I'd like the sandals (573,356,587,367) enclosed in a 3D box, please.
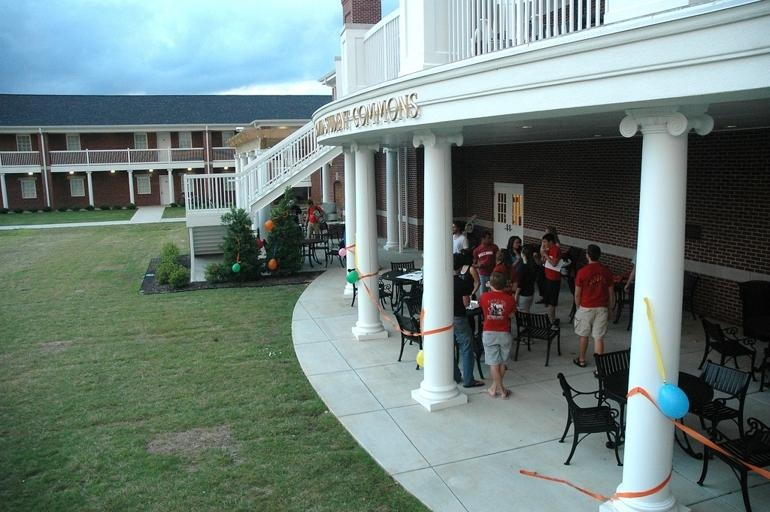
[{"bbox_3d":[4.310,2.314,11.176,0.135,0.148,0.358,-2,3,0],"label":"sandals"}]

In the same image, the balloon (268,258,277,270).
[{"bbox_3d":[-4.346,0.300,19.300,0.378,0.365,0.495,-12,-34,-22],"label":"balloon"}]

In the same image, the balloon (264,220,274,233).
[{"bbox_3d":[-4.497,-1.156,19.538,0.313,0.488,0.767,-6,15,-14],"label":"balloon"}]

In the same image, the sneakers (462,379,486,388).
[{"bbox_3d":[1.834,2.630,10.434,0.372,0.150,0.174,-6,9,-15],"label":"sneakers"}]

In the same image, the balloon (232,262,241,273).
[{"bbox_3d":[-5.513,0.421,18.613,0.316,0.417,0.475,-6,15,-14],"label":"balloon"}]
